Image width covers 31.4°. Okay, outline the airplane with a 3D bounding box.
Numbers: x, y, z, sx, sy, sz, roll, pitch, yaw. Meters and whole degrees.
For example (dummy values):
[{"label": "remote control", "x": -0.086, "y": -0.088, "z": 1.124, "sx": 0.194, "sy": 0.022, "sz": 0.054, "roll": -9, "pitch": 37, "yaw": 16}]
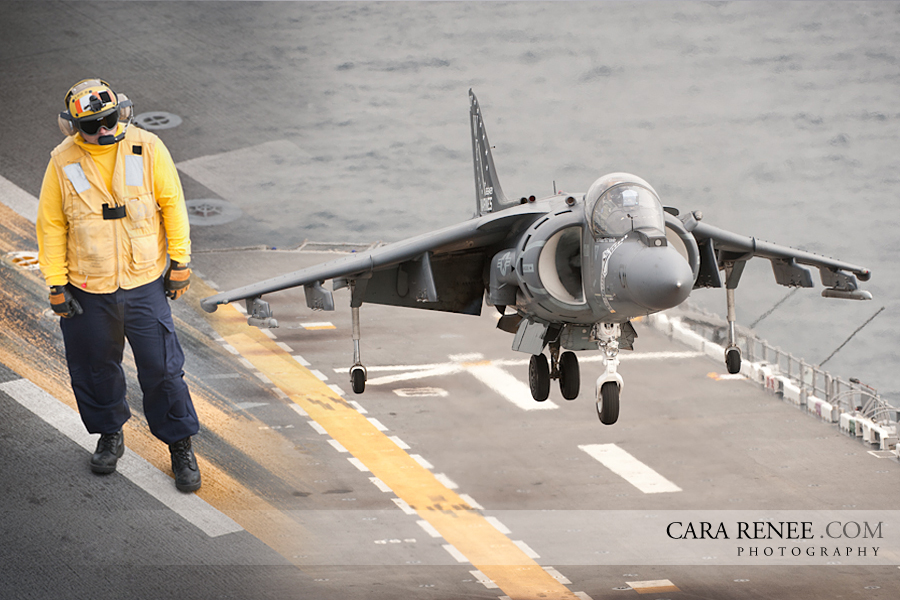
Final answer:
[{"label": "airplane", "x": 2.346, "y": -0.104, "z": 39.140, "sx": 11.024, "sy": 6.841, "sz": 6.537, "roll": 6, "pitch": 21, "yaw": 19}]
